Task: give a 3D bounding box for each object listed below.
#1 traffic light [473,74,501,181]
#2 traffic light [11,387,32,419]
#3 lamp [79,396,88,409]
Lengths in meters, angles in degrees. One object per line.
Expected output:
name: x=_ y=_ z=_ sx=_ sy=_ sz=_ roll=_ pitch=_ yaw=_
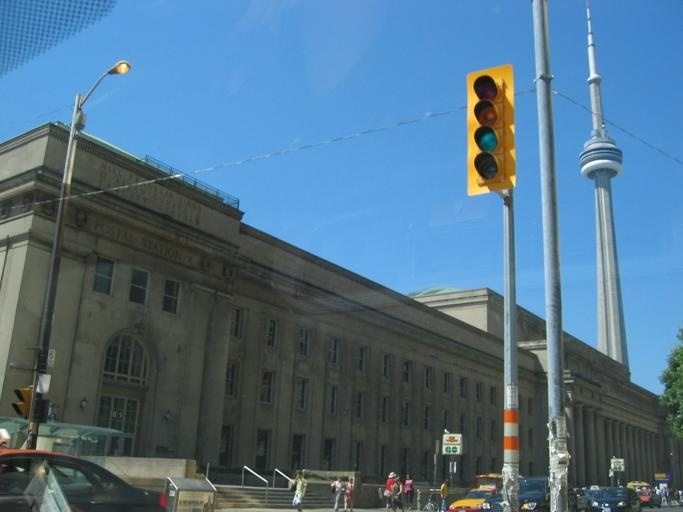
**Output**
traffic light: x=3.362 y=-2.957 z=18.008 sx=0.607 sy=2.426 sz=0.637 roll=-3 pitch=-21 yaw=10
traffic light: x=-10.972 y=5.077 z=26.871 sx=0.598 sy=1.120 sz=1.370 roll=9 pitch=-23 yaw=-21
lamp: x=-12.715 y=7.360 z=38.570 sx=0.393 sy=0.682 sz=0.458 roll=7 pitch=-25 yaw=-14
